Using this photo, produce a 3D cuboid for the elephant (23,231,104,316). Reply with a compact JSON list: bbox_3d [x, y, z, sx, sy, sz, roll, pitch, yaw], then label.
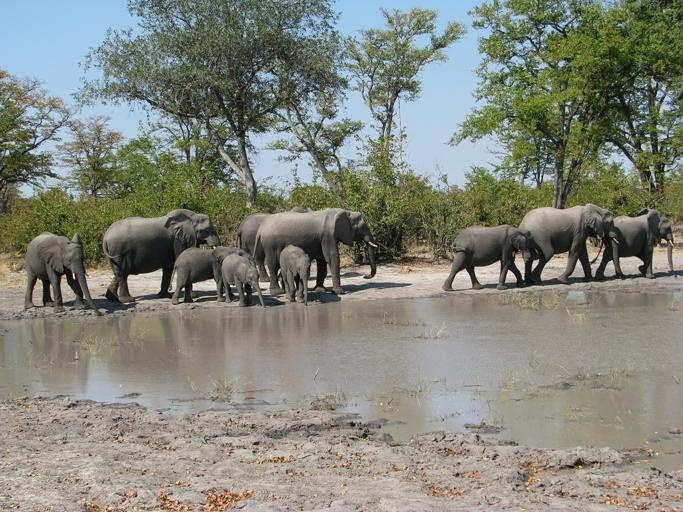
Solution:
[{"bbox_3d":[-7.443,0.444,21.763,2.364,2.050,0.780,8,16,32],"label":"elephant"}]
